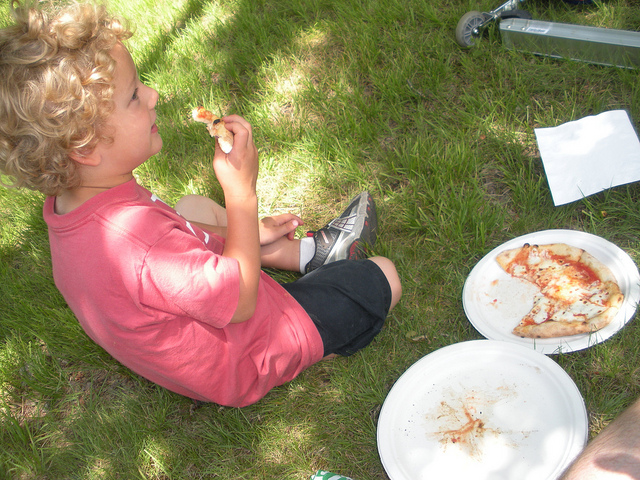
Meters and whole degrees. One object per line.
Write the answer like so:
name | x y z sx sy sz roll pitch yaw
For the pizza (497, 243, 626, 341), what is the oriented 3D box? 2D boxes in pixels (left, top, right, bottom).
pizza | 1.056 0.209 2.363 0.449 0.554 0.067 -12 30 27

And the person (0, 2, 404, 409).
person | -0.500 -0.002 2.189 1.055 1.654 1.072 -37 57 1
